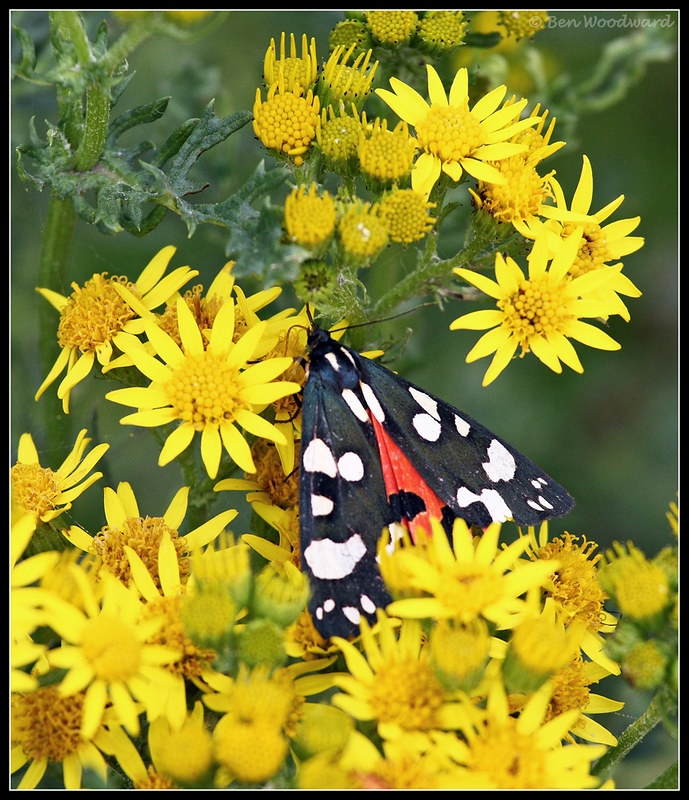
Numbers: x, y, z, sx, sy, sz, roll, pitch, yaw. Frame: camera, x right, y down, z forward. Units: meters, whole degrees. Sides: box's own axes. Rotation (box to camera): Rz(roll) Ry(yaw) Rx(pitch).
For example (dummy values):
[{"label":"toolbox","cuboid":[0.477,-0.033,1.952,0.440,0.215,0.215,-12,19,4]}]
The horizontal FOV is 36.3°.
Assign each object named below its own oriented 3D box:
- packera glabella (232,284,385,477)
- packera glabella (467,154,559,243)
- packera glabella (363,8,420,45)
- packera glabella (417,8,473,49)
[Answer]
[{"label":"packera glabella","cuboid":[-0.156,-0.048,2.609,0.386,0.114,0.384,46,61,-3]},{"label":"packera glabella","cuboid":[0.410,-0.488,2.520,0.209,0.212,0.141,3,20,1]},{"label":"packera glabella","cuboid":[0.117,-0.939,2.642,0.125,0.063,0.064,-7,61,-4]},{"label":"packera glabella","cuboid":[0.252,-0.951,2.682,0.142,0.071,0.088,-7,61,-4]}]
